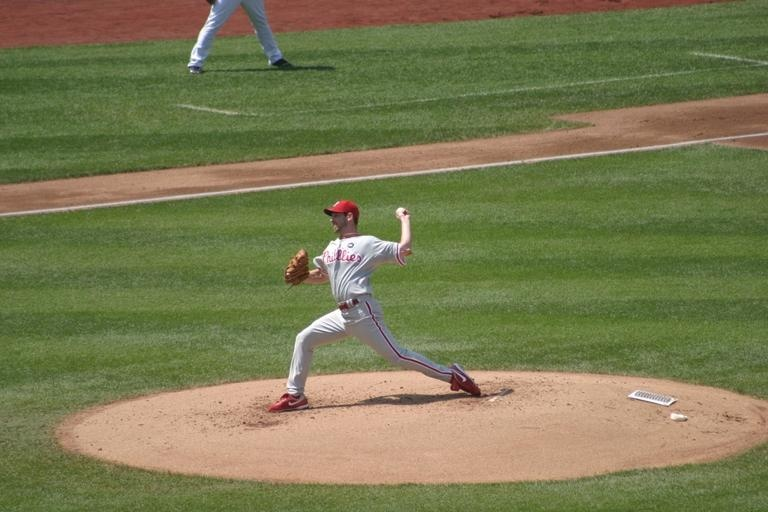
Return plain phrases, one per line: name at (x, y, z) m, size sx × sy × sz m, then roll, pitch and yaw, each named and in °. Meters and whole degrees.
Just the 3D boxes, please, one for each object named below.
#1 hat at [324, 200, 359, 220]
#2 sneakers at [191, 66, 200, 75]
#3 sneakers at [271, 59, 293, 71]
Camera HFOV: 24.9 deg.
hat at (-0.828, -0.861, 33.322) m, size 0.711 × 0.269 × 0.385 m, roll 2°, pitch 0°, yaw -6°
sneakers at (-5.060, -4.950, 46.616) m, size 0.302 × 0.158 × 0.166 m, roll -2°, pitch 7°, yaw 23°
sneakers at (-2.802, -5.142, 47.180) m, size 0.658 × 0.219 × 0.266 m, roll -1°, pitch 7°, yaw 9°
